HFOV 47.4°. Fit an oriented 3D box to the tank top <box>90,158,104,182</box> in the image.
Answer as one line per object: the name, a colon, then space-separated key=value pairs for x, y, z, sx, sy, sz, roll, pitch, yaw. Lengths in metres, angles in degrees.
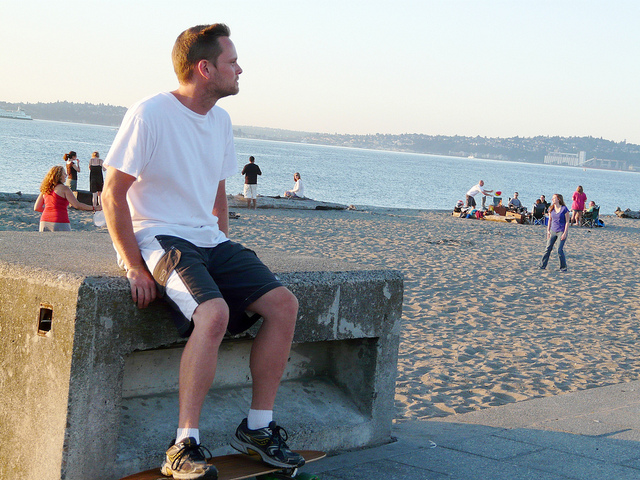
tank top: x=-5.646 y=-1.759 z=18.380 sx=0.285 sy=0.540 sz=0.900 roll=2 pitch=8 yaw=-17

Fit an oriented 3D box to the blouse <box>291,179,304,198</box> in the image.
blouse: x=-0.860 y=-1.970 z=27.868 sx=0.392 sy=0.691 sz=0.426 roll=6 pitch=8 yaw=14

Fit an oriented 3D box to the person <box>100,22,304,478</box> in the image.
person: x=-0.602 y=-0.008 z=3.842 sx=0.739 sy=2.279 sz=0.908 roll=-3 pitch=10 yaw=-44

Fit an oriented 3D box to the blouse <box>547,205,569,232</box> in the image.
blouse: x=4.574 y=-0.412 z=13.979 sx=0.294 sy=0.484 sz=0.472 roll=6 pitch=8 yaw=17

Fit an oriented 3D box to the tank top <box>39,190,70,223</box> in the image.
tank top: x=-3.305 y=-0.426 z=9.086 sx=0.348 sy=0.414 sz=0.245 roll=5 pitch=-27 yaw=-21
